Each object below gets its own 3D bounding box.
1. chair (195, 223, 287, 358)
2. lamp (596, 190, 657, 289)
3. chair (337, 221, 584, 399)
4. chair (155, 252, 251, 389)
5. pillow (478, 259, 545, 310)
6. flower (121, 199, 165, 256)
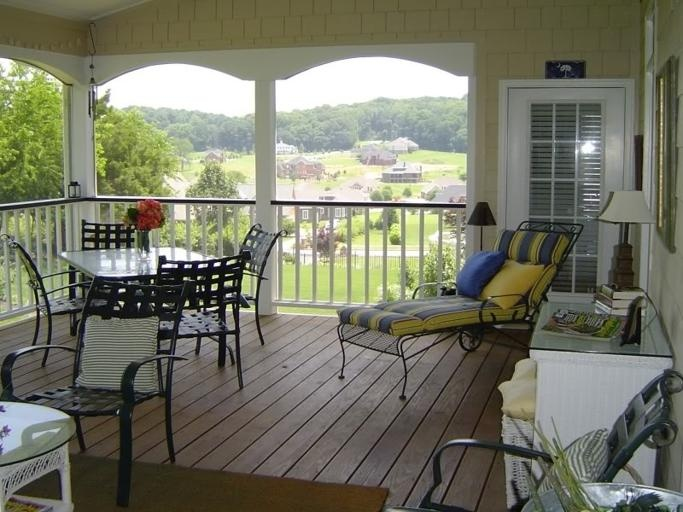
[{"bbox_3d":[-1.038,0.264,5.328,0.899,1.158,0.800,2,11,-18],"label":"chair"},{"bbox_3d":[1.732,-0.091,3.399,0.331,0.574,0.339,-3,4,-37],"label":"lamp"},{"bbox_3d":[1.048,0.351,5.333,2.215,1.559,1.248,-6,6,-28],"label":"chair"},{"bbox_3d":[-1.137,0.488,4.266,0.751,0.938,0.784,1,4,-13],"label":"chair"},{"bbox_3d":[1.524,0.257,5.058,0.475,0.373,0.362,-3,9,-24],"label":"pillow"},{"bbox_3d":[-1.707,-0.247,4.857,0.330,0.471,0.283,-2,8,-16],"label":"flower"}]
